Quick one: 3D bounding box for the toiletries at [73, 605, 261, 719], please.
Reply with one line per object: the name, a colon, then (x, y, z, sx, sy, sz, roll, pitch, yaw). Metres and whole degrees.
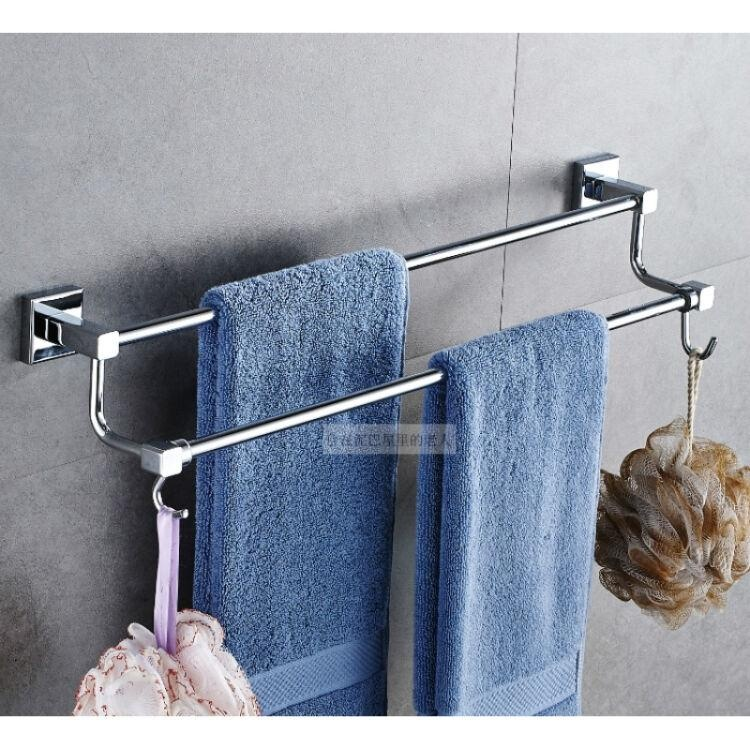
toiletries: (-0.157, 0.197, 0.720, 0.115, 0.056, 0.150, 3, -10, 44)

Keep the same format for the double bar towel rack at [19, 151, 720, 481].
double bar towel rack: (0.052, -0.080, 0.880, 0.648, 0.260, 0.172, -2, 8, -38)
